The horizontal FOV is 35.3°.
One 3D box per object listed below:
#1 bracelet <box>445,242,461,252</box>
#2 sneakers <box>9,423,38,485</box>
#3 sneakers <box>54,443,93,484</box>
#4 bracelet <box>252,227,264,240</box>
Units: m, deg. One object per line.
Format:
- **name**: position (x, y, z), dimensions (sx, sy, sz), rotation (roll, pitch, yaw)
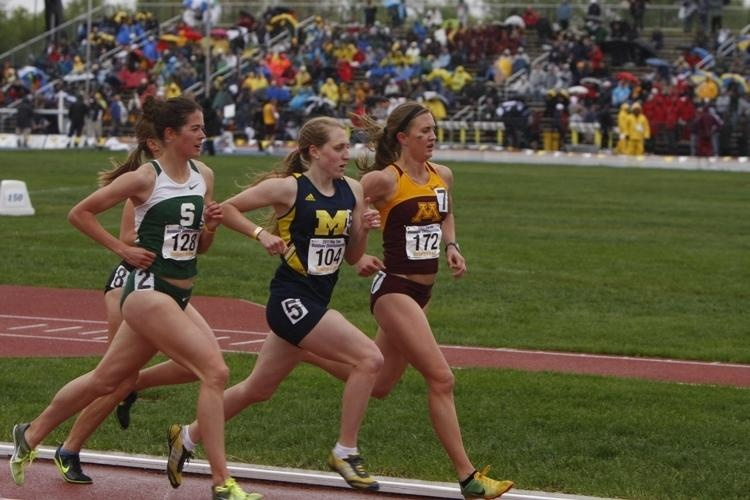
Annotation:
- **bracelet**: position (0.789, -0.028, 12.364), dimensions (0.135, 0.082, 0.120), rotation (3, -30, -12)
- **sneakers**: position (-3.474, 2.003, 11.511), dimensions (0.289, 0.637, 0.219), rotation (-6, -7, 16)
- **sneakers**: position (-2.994, 2.127, 11.631), dimensions (0.527, 0.202, 0.219), rotation (31, 16, 32)
- **bracelet**: position (-1.132, -0.162, 11.313), dimensions (0.086, 0.119, 0.125), rotation (15, 3, 19)
